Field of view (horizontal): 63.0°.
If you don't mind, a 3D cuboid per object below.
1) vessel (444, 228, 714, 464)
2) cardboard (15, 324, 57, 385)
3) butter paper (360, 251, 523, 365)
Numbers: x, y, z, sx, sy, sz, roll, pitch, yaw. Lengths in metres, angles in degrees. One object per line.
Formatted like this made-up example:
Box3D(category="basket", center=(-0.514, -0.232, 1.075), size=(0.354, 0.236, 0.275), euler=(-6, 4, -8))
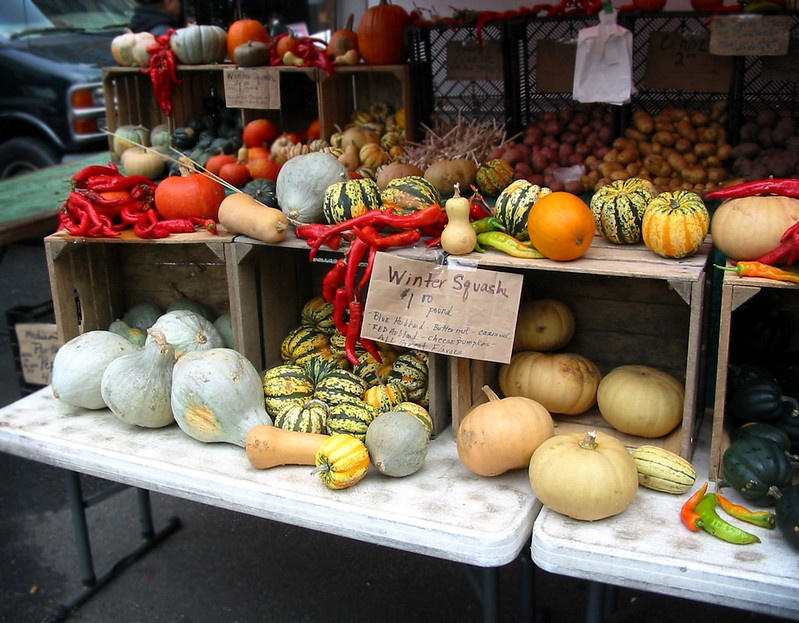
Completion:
Box3D(category="vessel", center=(0.808, 0.222, 3.127), size=(1.408, 1.086, 0.928), euler=(3, 5, 28))
Box3D(category="cardboard", center=(-2.772, 0.309, 5.000), size=(0.485, 0.503, 0.028), euler=(7, 21, 5))
Box3D(category="butter paper", center=(0.193, -0.025, 2.875), size=(0.500, 0.304, 0.025), euler=(12, 9, 5))
